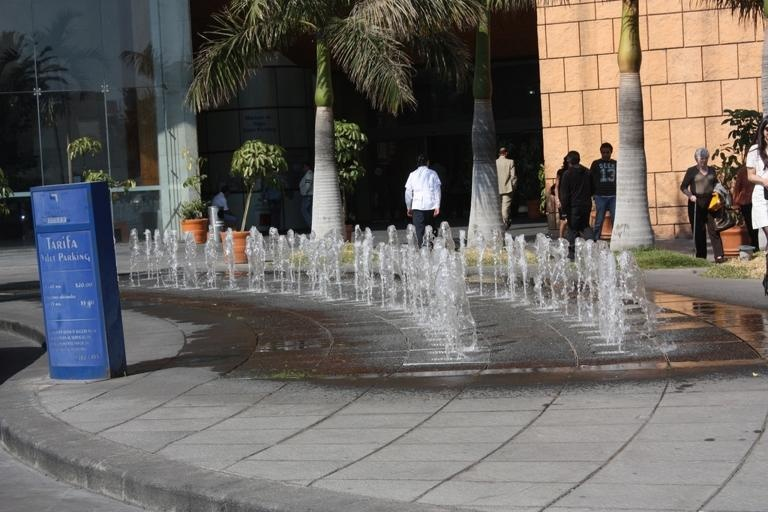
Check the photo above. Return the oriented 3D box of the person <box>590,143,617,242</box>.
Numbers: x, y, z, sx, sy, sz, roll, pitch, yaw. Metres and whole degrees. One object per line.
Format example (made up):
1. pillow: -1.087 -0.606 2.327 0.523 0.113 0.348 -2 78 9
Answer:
1. person: 4.381 -1.294 21.324 0.490 1.860 0.952 -2 9 12

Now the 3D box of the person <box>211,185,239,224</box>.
1. person: -4.646 -1.234 31.083 0.771 1.511 0.679 -8 12 -26

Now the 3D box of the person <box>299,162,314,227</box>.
1. person: -2.238 -1.759 30.736 0.360 1.681 1.211 -5 9 -5

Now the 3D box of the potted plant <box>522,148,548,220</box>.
1. potted plant: 5.178 -2.536 37.775 0.916 2.524 3.224 -3 9 7

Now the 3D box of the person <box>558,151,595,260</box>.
1. person: 3.546 -0.892 19.793 0.602 1.914 0.937 -2 9 10

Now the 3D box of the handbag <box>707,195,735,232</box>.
1. handbag: 5.740 -0.748 18.209 0.387 0.579 0.365 -2 9 14

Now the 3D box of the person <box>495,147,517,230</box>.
1. person: 3.163 -1.750 27.771 0.447 2.114 1.331 -3 9 7

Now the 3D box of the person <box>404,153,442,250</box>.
1. person: 0.765 -1.044 21.072 0.666 1.800 0.789 -4 9 1

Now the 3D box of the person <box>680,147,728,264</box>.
1. person: 5.591 -0.879 18.796 0.683 1.966 1.238 -2 9 12
